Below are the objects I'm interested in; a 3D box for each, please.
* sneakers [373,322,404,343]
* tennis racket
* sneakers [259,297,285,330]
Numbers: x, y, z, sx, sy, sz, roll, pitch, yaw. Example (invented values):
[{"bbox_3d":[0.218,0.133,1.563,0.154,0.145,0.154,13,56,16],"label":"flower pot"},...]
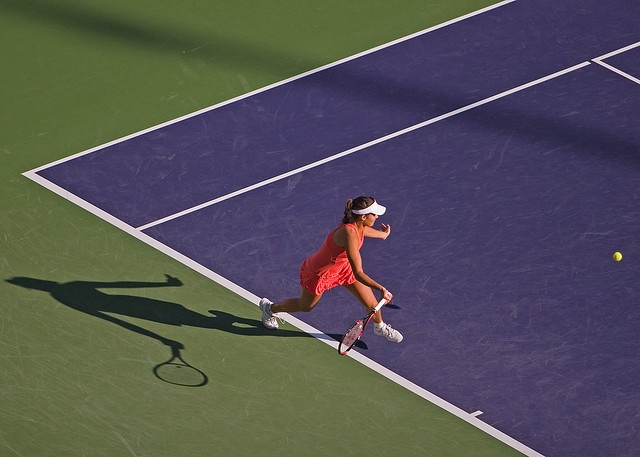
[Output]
[{"bbox_3d":[1.020,1.415,10.939,0.528,0.170,0.209,22,-9,7],"label":"sneakers"},{"bbox_3d":[0.590,1.251,10.355,0.340,1.218,0.116,49,23,0],"label":"tennis racket"},{"bbox_3d":[-0.694,1.177,10.961,0.480,0.209,0.183,48,49,5],"label":"sneakers"}]
